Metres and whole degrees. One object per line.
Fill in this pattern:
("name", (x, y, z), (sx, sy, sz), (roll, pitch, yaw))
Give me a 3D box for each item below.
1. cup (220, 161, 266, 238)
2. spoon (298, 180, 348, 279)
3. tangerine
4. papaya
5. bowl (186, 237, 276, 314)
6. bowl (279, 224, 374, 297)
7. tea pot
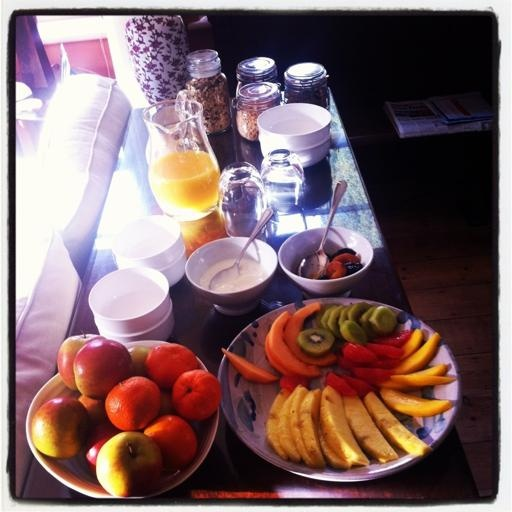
("cup", (-0.031, -0.143, 1.105), (0.119, 0.178, 0.115), (-2, 29, 1))
("spoon", (0.166, -0.086, 0.964), (0.060, 0.038, 0.306), (11, 66, 28))
("tangerine", (-0.119, 0.189, 0.584), (0.121, 0.080, 0.140), (7, 35, 5))
("papaya", (0.049, 0.150, 0.752), (0.146, 0.041, 0.110), (-12, 44, -19))
("bowl", (-0.049, 0.031, 0.868), (0.148, 0.075, 0.155), (-5, 44, 5))
("bowl", (0.127, -0.007, 0.886), (0.205, 0.125, 0.148), (0, 36, -2))
("tea pot", (-0.173, -0.261, 1.127), (0.154, 0.253, 0.258), (-5, 40, 2))
